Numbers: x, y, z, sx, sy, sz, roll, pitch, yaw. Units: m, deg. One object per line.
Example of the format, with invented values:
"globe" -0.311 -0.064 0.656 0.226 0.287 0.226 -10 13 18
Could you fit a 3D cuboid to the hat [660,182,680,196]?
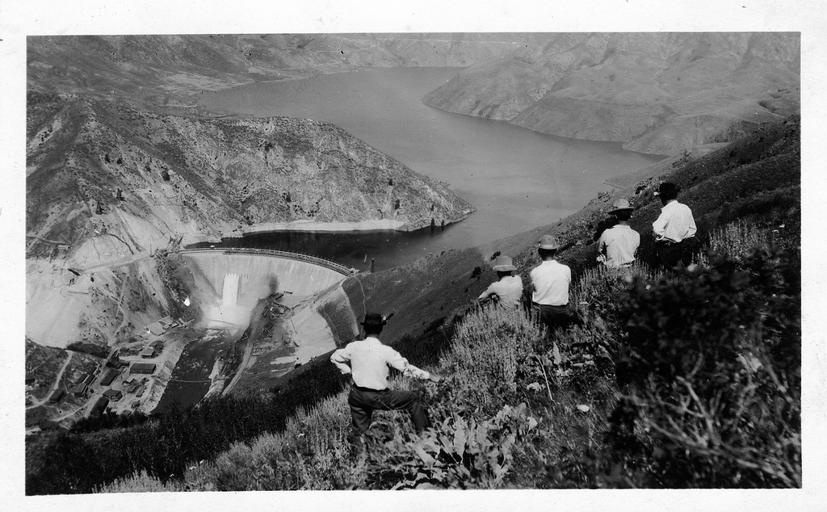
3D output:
"hat" 9.085 -2.391 21.119 0.826 0.450 0.491 -7 20 -38
